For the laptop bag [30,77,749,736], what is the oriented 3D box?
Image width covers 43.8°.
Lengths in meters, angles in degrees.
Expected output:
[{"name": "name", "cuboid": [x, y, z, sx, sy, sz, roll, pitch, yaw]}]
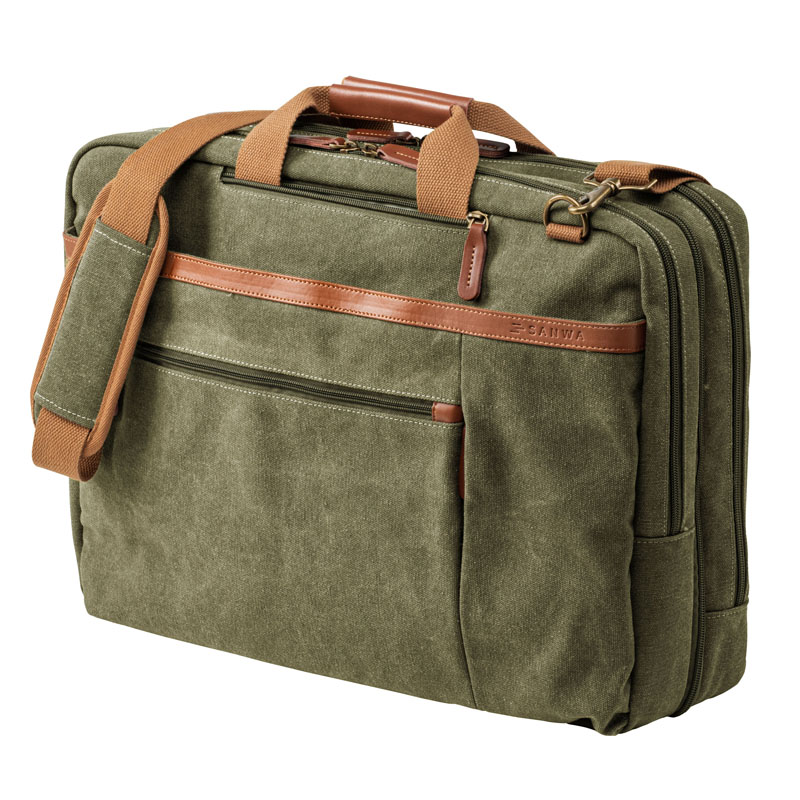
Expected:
[{"name": "laptop bag", "cuboid": [0.042, -0.004, 1.580, 1.046, 0.496, 0.762, 10, -70, 30]}]
